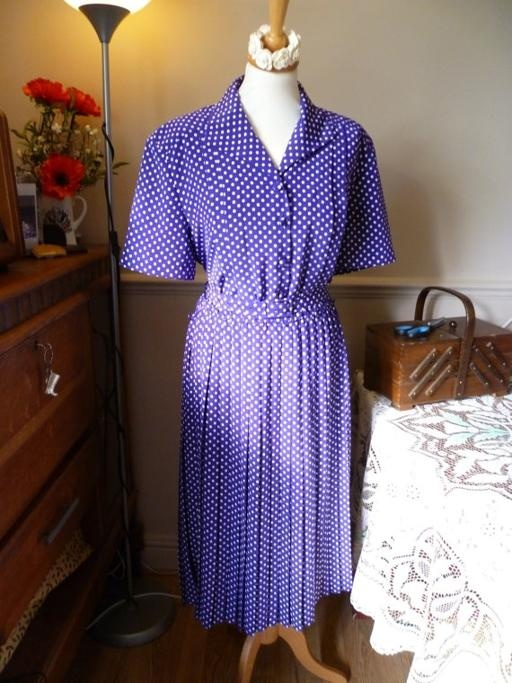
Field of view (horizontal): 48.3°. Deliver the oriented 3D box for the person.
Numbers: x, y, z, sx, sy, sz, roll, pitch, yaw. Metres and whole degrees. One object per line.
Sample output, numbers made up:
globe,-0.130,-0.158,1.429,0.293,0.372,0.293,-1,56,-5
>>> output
person,0.017,0.028,1.083,0.449,1.125,0.214,-3,20,-7
